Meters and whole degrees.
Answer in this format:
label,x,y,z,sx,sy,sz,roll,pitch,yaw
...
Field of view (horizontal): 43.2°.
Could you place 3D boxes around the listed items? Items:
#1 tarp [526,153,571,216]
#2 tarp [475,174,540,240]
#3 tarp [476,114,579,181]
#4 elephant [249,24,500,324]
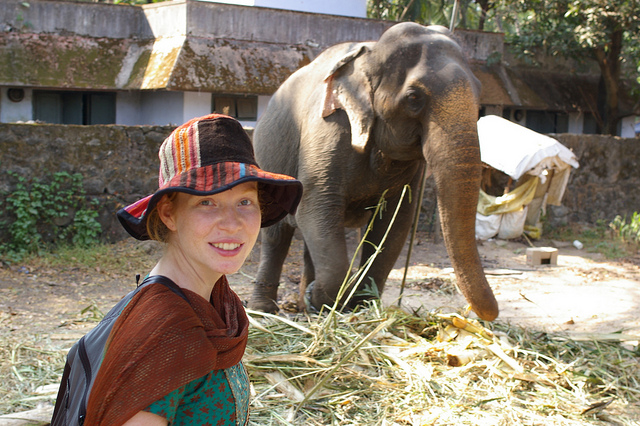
label,x,y,z,sx,sy,sz,roll,pitch,yaw
tarp,4.636,-0.679,16.257,0.876,1.036,0.317,5,25,-17
tarp,3.884,-0.032,16.534,1.134,0.920,0.884,0,-2,35
tarp,3.818,-1.314,15.852,1.938,0.585,1.836,-14,36,-36
elephant,0.547,-0.314,10.521,2.076,3.521,4.628,7,-8,-28
